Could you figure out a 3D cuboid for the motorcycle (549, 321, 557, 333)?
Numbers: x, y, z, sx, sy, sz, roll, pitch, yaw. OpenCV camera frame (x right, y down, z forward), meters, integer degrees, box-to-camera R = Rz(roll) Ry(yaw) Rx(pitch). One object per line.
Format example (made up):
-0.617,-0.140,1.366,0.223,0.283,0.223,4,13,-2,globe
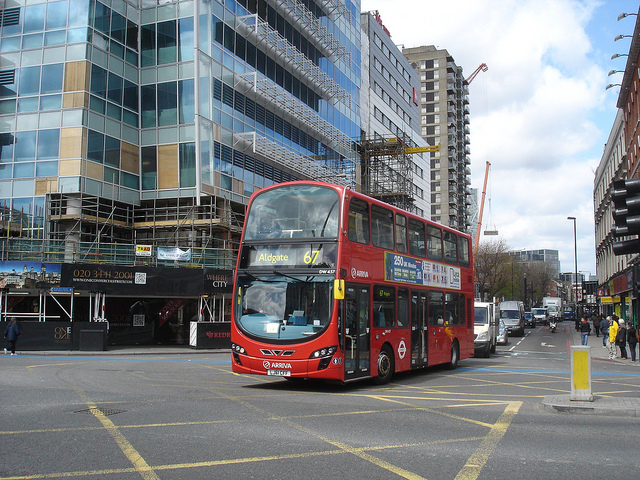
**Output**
21.315,8.028,57.527,0.846,1.004,1.796,-1,-6,20,motorcycle

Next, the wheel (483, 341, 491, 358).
7.505,5.015,28.385,0.285,0.727,0.853,-1,-9,16,wheel

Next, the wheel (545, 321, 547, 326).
28.115,10.467,78.174,0.222,0.349,1.159,-1,-10,20,wheel

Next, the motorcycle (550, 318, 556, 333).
21.254,7.803,57.343,0.368,1.367,2.058,-1,-9,18,motorcycle

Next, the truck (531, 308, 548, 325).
27.282,9.392,78.096,1.728,1.521,2.836,-4,-14,24,truck

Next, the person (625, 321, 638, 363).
13.213,4.310,26.540,0.370,1.757,1.131,-2,-9,26,person

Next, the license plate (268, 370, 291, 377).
-1.048,3.420,16.091,0.577,0.164,0.244,3,-9,-6,license plate

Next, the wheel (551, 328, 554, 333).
20.989,8.168,56.610,0.162,0.394,0.613,-1,-9,18,wheel
